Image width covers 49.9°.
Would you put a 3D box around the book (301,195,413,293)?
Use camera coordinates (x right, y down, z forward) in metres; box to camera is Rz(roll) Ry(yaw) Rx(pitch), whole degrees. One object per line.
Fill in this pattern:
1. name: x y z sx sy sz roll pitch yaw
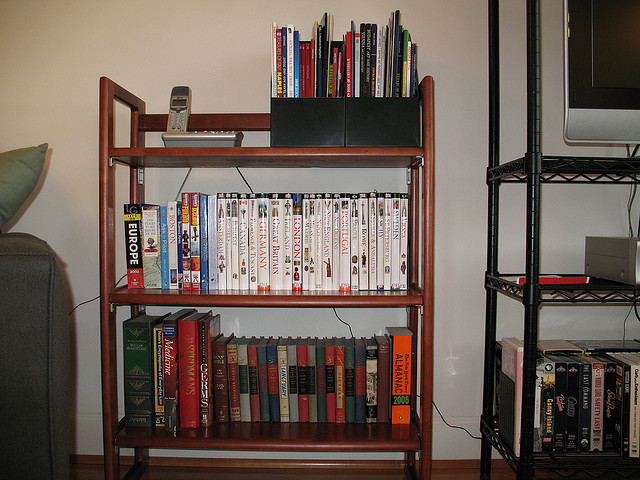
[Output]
1. book: 0.140 0.011 2.842 0.438 0.401 0.062 0 1 -7

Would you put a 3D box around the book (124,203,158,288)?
1. book: -0.775 0.024 2.919 0.120 0.325 0.082 1 10 -3

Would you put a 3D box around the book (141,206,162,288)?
1. book: -0.705 0.025 2.871 0.083 0.338 0.032 0 1 -13

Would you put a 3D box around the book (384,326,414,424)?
1. book: 0.337 0.568 2.919 0.117 0.383 0.151 1 1 7

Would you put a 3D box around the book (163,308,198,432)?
1. book: -0.578 0.554 2.838 0.135 0.411 0.405 -1 5 -2

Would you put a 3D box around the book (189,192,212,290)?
1. book: -0.506 -0.003 2.887 0.038 0.399 0.290 1 2 -19

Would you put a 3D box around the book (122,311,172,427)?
1. book: -0.762 0.550 3.057 0.148 0.433 0.442 -1 -1 2

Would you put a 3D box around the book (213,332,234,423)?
1. book: -0.405 0.592 2.880 0.093 0.273 0.279 0 11 -3

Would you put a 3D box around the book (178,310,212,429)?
1. book: -0.532 0.541 2.893 0.092 0.467 0.133 1 1 12
